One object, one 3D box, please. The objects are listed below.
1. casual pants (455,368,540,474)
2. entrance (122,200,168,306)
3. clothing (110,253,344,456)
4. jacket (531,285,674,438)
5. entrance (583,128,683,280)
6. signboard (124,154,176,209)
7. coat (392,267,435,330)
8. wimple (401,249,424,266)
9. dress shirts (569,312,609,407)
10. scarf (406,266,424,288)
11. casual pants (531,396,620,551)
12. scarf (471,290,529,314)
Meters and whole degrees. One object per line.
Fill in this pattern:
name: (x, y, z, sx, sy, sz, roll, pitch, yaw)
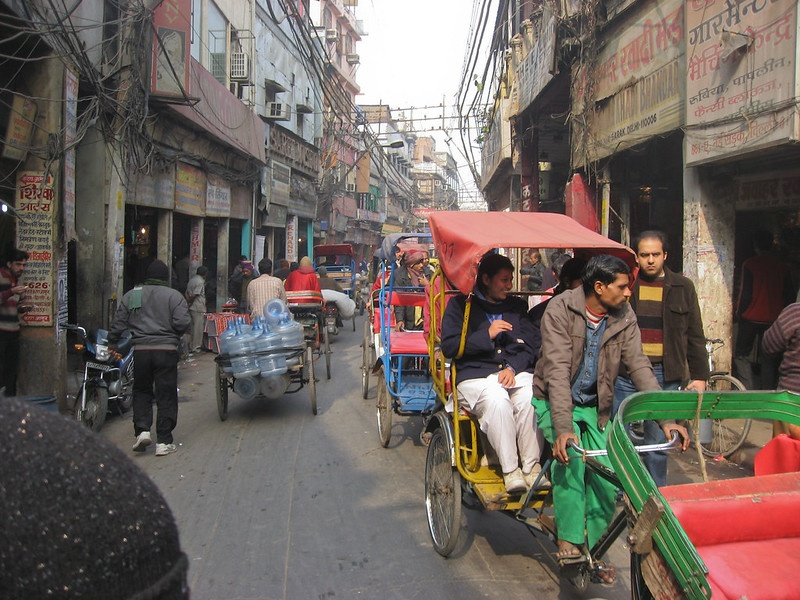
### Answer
casual pants: (0.749, 0.841, 5.233, 0.365, 0.296, 0.694, -2, 22, -13)
entrance: (-5.576, -1.132, 15.567, 0.496, 1.643, 1.575, -3, 12, -13)
clothing: (-1.895, 0.605, 8.580, 1.273, 1.963, 2.851, -1, -3, 17)
jacket: (1.251, 0.403, 5.102, 0.719, 1.159, 0.888, 2, 2, -14)
entrance: (3.414, -1.916, 11.957, 1.273, 1.909, 1.466, -19, 9, -40)
signboard: (-4.483, -2.120, 13.229, 1.516, 0.806, 0.031, 10, 10, 31)
coat: (0.201, -0.021, 9.804, 0.522, 0.922, 0.808, 0, 4, -8)
wimple: (0.176, -0.591, 10.311, 0.218, 0.200, 0.207, -15, 20, 34)
dress shirts: (1.297, 0.416, 5.033, 0.344, 0.584, 0.204, 10, 2, 24)
scarf: (0.239, -0.330, 10.256, 0.185, 0.136, 0.273, 3, 22, -17)
casual pants: (1.188, 1.197, 4.805, 0.487, 0.923, 0.624, 2, 7, 1)
scarf: (0.796, 0.037, 5.714, 0.264, 0.133, 0.222, 4, 2, 29)
